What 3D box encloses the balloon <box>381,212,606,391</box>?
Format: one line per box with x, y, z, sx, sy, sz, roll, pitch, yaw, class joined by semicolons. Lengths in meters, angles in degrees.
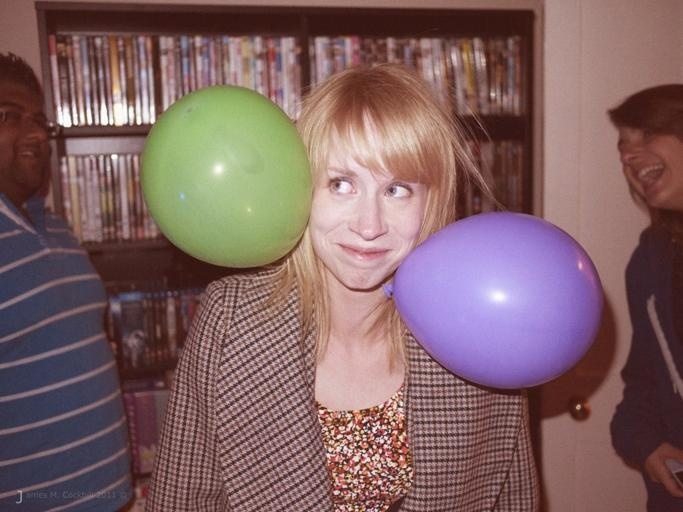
0.522;0.156;2.043;0.634;0.583;0.556;-10;19;20;balloon
